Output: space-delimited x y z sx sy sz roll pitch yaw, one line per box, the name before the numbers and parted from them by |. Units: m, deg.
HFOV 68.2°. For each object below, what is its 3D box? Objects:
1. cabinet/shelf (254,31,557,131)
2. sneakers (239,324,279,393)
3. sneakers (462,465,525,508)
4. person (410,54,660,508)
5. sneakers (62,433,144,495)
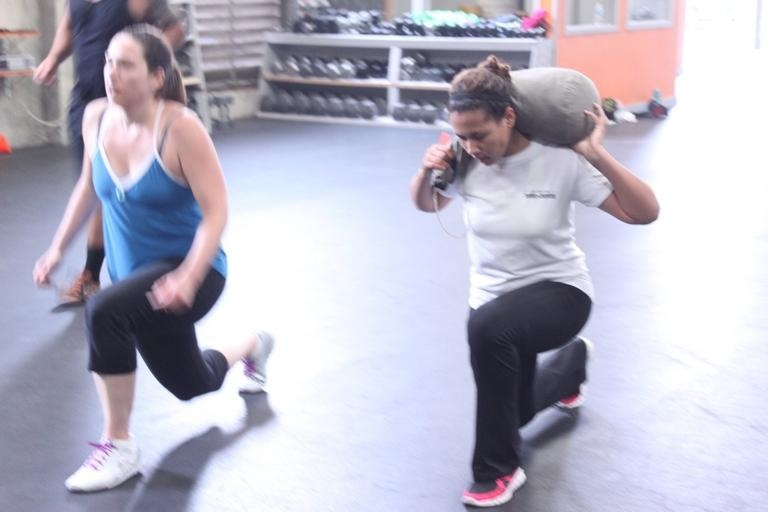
cabinet/shelf | 0.213 -2.481 8.200 3.817 1.167 1.180 4 13 7
sneakers | -0.483 0.421 2.266 0.170 0.248 0.146 4 57 -6
sneakers | 0.335 0.674 1.719 0.174 0.072 0.089 -13 0 -39
person | 0.447 0.055 1.718 0.586 1.243 0.551 -7 23 -10
sneakers | -0.874 0.658 1.798 0.225 0.095 0.128 -16 19 -42
